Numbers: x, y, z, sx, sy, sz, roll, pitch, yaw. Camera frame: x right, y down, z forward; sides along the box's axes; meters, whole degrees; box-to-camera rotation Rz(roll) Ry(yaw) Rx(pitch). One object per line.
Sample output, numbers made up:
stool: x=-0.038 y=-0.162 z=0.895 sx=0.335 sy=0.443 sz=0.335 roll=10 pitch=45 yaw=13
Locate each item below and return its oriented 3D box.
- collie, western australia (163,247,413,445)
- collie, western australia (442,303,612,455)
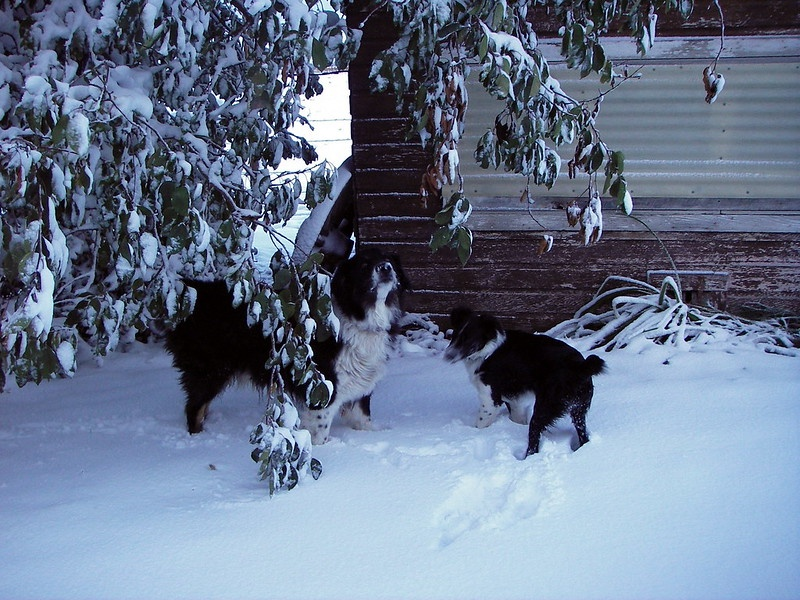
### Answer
collie, western australia: x=-0.977 y=0.315 z=5.013 sx=1.795 sy=1.392 sz=0.645 roll=4 pitch=5 yaw=0
collie, western australia: x=0.792 y=0.572 z=4.649 sx=1.075 sy=0.843 sz=0.375 roll=15 pitch=21 yaw=35
